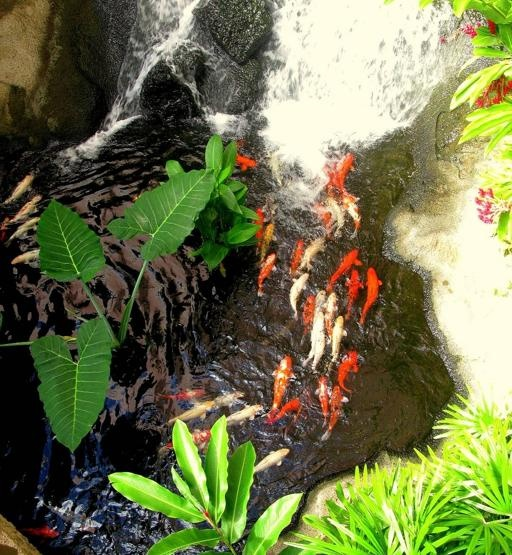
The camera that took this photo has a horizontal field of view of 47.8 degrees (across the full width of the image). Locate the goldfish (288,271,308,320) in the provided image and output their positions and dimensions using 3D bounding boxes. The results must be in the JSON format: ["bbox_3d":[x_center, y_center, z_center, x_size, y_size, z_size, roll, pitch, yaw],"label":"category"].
[{"bbox_3d":[0.255,0.102,3.482,0.081,0.292,0.122,1,-35,40],"label":"goldfish"}]

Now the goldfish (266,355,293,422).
[{"bbox_3d":[0.150,0.605,3.158,0.104,0.325,0.137,11,-48,7],"label":"goldfish"}]

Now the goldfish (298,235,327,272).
[{"bbox_3d":[0.359,-0.154,3.681,0.093,0.287,0.084,45,-23,-28],"label":"goldfish"}]

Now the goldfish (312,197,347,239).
[{"bbox_3d":[0.505,-0.395,3.830,0.186,0.242,0.064,-8,-24,4],"label":"goldfish"}]

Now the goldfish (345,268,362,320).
[{"bbox_3d":[0.595,0.102,3.505,0.086,0.283,0.118,8,-23,8],"label":"goldfish"}]

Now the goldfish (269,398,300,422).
[{"bbox_3d":[0.154,0.712,3.107,0.039,0.154,0.042,33,-37,36],"label":"goldfish"}]

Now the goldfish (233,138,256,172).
[{"bbox_3d":[-0.081,-0.873,4.105,0.208,0.209,0.062,15,-32,-30],"label":"goldfish"}]

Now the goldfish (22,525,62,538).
[{"bbox_3d":[-1.031,1.200,2.760,0.121,0.063,0.056,4,0,1],"label":"goldfish"}]

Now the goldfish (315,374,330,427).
[{"bbox_3d":[0.372,0.649,3.153,0.064,0.206,0.083,-3,-45,-1],"label":"goldfish"}]

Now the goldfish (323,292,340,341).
[{"bbox_3d":[0.442,0.221,3.413,0.068,0.250,0.109,7,-31,-5],"label":"goldfish"}]

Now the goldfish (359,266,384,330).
[{"bbox_3d":[0.691,0.115,3.506,0.118,0.099,0.350,46,-36,38],"label":"goldfish"}]

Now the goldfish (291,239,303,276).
[{"bbox_3d":[0.259,-0.124,3.629,0.068,0.223,0.122,21,-3,2],"label":"goldfish"}]

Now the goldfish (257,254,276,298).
[{"bbox_3d":[0.074,-0.015,3.568,0.093,0.252,0.104,7,-21,47],"label":"goldfish"}]

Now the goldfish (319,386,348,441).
[{"bbox_3d":[0.415,0.733,3.111,0.096,0.290,0.114,21,-3,14],"label":"goldfish"}]

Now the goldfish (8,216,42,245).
[{"bbox_3d":[-1.368,-0.270,3.405,0.049,0.252,0.057,34,-38,3],"label":"goldfish"}]

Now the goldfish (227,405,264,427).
[{"bbox_3d":[-0.058,0.728,3.066,0.177,0.123,0.052,23,-3,-29],"label":"goldfish"}]

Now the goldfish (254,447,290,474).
[{"bbox_3d":[0.083,0.929,3.000,0.069,0.228,0.089,58,-21,10],"label":"goldfish"}]

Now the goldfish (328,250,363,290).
[{"bbox_3d":[0.553,-0.046,3.634,0.149,0.291,0.112,32,-12,23],"label":"goldfish"}]

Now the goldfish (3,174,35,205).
[{"bbox_3d":[-1.519,-0.566,3.764,0.081,0.276,0.095,38,-21,2],"label":"goldfish"}]

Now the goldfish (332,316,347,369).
[{"bbox_3d":[0.472,0.352,3.336,0.082,0.242,0.101,4,-7,8],"label":"goldfish"}]

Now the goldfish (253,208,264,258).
[{"bbox_3d":[-0.010,-0.303,3.670,0.060,0.257,0.110,8,2,-3],"label":"goldfish"}]

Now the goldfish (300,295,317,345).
[{"bbox_3d":[0.318,0.254,3.416,0.066,0.279,0.118,5,-36,15],"label":"goldfish"}]

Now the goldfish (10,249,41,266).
[{"bbox_3d":[-1.333,-0.114,3.336,0.047,0.128,0.047,63,-16,6],"label":"goldfish"}]

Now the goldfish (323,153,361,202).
[{"bbox_3d":[0.586,-0.717,4.011,0.158,0.323,0.220,22,-3,-13],"label":"goldfish"}]

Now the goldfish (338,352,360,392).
[{"bbox_3d":[0.518,0.519,3.245,0.105,0.217,0.126,21,-3,17],"label":"goldfish"}]
